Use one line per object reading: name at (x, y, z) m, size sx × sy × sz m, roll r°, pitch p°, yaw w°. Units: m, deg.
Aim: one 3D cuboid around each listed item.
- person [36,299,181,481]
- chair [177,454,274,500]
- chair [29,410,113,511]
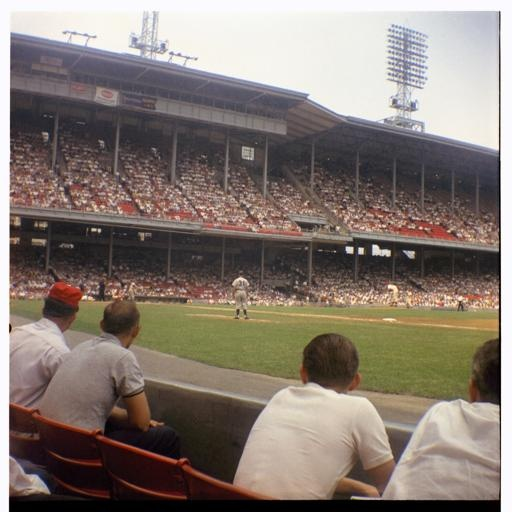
person at (-1.158, 1.079, 5.492) m, size 0.646 × 1.708 × 1.085 m, roll 20°, pitch 18°, yaw 35°
chair at (-0.209, 1.421, 4.279) m, size 0.577 × 0.197 × 0.173 m, roll 4°, pitch -2°, yaw 26°
chair at (-1.248, 1.351, 4.992) m, size 0.551 × 0.845 × 0.543 m, roll 5°, pitch 4°, yaw 40°
